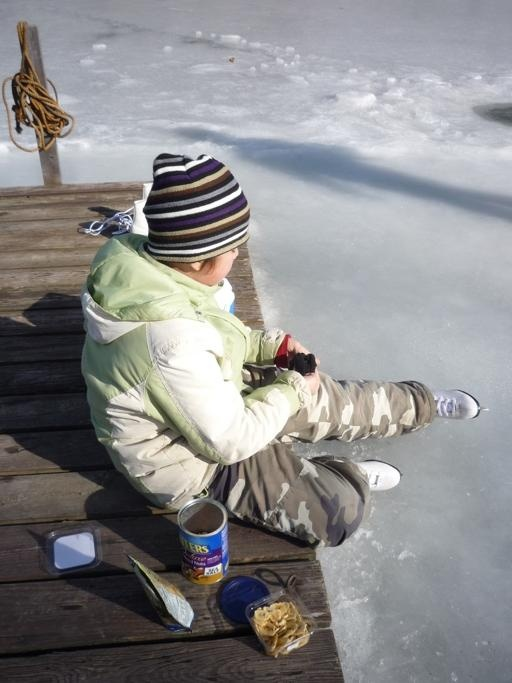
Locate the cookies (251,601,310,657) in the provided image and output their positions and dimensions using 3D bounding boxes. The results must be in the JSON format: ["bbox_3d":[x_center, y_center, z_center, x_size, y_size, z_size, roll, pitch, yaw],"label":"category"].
[{"bbox_3d":[0.055,0.676,1.483,0.102,0.079,0.110,-15,35,-36],"label":"cookies"}]
